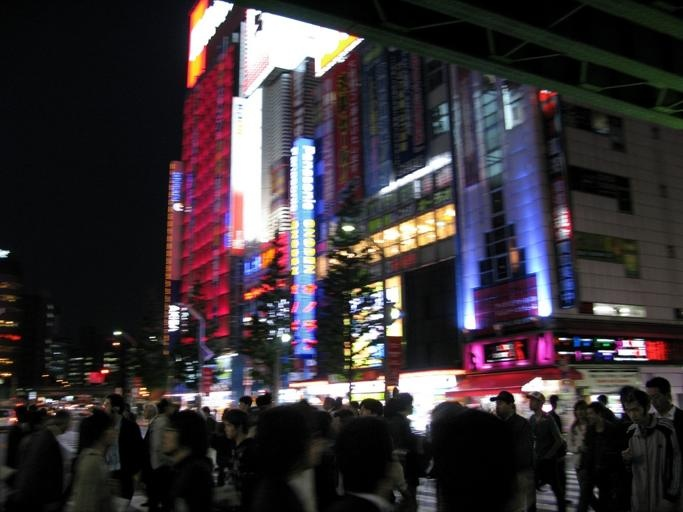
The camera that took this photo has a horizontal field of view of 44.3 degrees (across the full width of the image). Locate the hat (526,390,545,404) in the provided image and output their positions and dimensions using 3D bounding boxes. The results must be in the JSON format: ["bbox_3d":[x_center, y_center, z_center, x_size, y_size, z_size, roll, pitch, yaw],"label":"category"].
[{"bbox_3d":[4.252,3.141,18.493,0.358,0.332,0.448,-3,-16,9],"label":"hat"}]
